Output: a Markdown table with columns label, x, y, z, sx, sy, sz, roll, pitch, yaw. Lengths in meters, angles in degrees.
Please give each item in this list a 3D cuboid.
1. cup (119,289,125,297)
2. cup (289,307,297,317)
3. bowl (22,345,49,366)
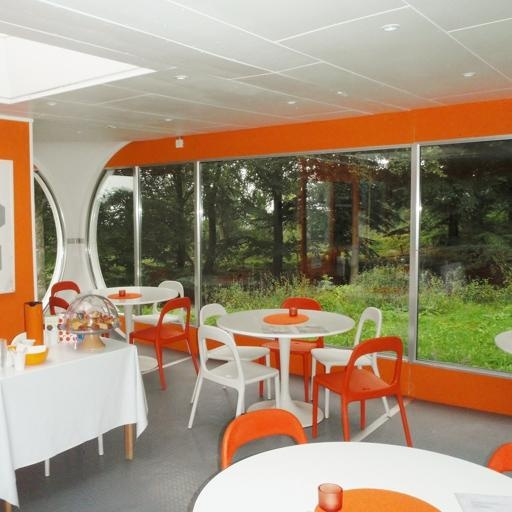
| label | x | y | z | sx | sy | sz | roll | pitch | yaw |
| --- | --- | --- | --- | --- | --- | --- | --- | --- | --- |
| cup | -1.541 | 0.415 | 5.182 | 0.087 | 0.078 | 0.080 | -2 | 4 | 0 |
| cup | 0.323 | 0.497 | 4.036 | 0.071 | 0.066 | 0.066 | -1 | -1 | 0 |
| bowl | -1.307 | 0.578 | 2.690 | 0.099 | 0.113 | 0.212 | -1 | 3 | -6 |
